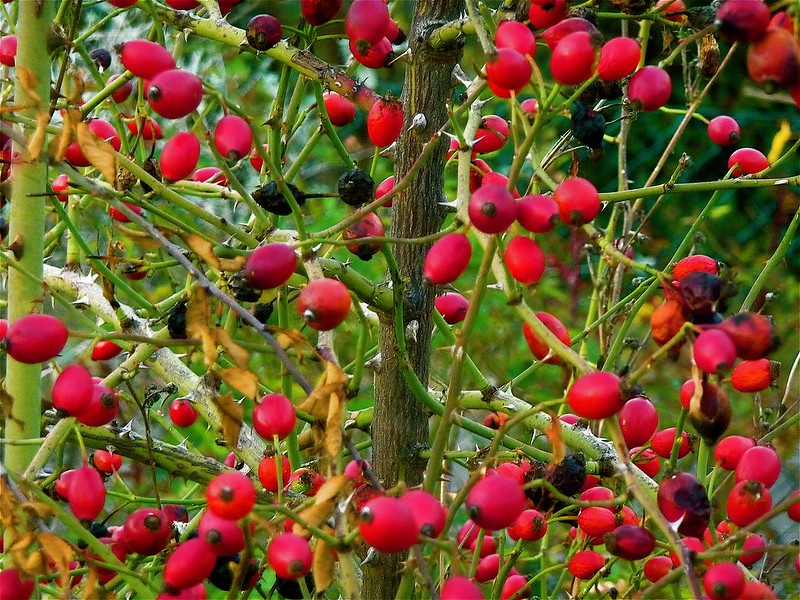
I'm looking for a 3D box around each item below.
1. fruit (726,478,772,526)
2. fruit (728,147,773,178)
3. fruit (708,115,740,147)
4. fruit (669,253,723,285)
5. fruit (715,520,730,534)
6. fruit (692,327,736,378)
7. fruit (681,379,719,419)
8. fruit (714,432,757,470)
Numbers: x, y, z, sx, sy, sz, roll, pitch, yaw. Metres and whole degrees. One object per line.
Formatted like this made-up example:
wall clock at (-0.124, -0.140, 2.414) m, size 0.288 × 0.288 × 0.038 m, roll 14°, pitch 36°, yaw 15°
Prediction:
fruit at (0.539, 0.311, 1.925) m, size 0.052 × 0.071 × 0.058 m, roll -6°, pitch 45°, yaw -26°
fruit at (0.619, -0.244, 2.210) m, size 0.060 × 0.056 × 0.050 m, roll -2°, pitch 2°, yaw 2°
fruit at (0.580, -0.309, 2.266) m, size 0.056 × 0.050 × 0.044 m, roll 24°, pitch 6°, yaw 34°
fruit at (0.456, -0.055, 1.926) m, size 0.081 × 0.057 × 0.055 m, roll -9°, pitch 0°, yaw 7°
fruit at (0.541, 0.379, 2.084) m, size 0.019 × 0.026 × 0.021 m, roll -14°, pitch 25°, yaw -5°
fruit at (0.422, 0.067, 1.680) m, size 0.044 × 0.068 × 0.048 m, roll 16°, pitch -26°, yaw -22°
fruit at (0.424, 0.123, 1.760) m, size 0.049 × 0.054 × 0.051 m, roll 24°, pitch 19°, yaw 26°
fruit at (0.562, 0.250, 2.076) m, size 0.057 × 0.049 × 0.050 m, roll -7°, pitch 51°, yaw 13°
